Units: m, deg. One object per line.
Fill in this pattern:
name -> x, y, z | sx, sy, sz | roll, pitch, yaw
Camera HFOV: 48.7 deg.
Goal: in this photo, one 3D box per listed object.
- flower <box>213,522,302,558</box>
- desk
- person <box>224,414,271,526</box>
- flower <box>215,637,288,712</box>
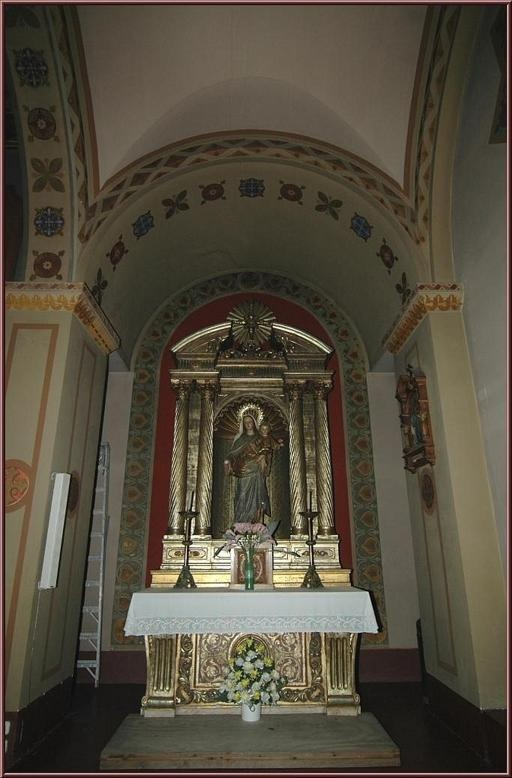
flower -> -0.030, 1.074, 4.104 | 0.444, 0.244, 0.326 | 6, -21, -16
desk -> 0.026, 1.427, 3.591 | 1.568, 0.288, 0.316 | -17, -11, 41
person -> -0.042, 0.720, 5.291 | 0.314, 1.068, 0.506 | -18, -26, 42
flower -> -0.009, 1.649, 3.377 | 0.395, 0.544, 0.416 | 2, -21, 0
